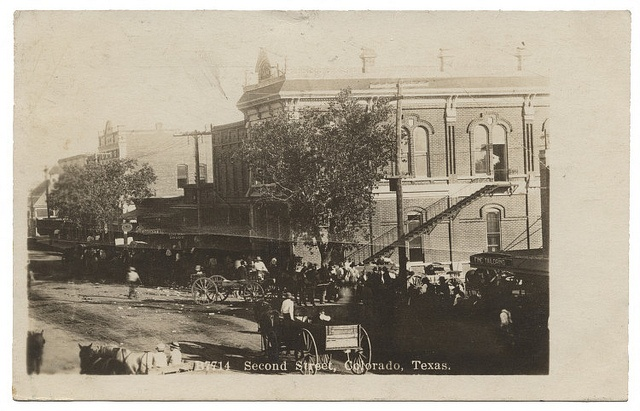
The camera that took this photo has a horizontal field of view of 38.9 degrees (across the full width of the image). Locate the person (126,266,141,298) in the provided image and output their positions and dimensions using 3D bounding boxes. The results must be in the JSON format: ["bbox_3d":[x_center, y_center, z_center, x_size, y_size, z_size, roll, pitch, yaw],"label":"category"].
[{"bbox_3d":[-6.586,2.722,32.063,0.492,1.126,0.115,1,-7,6],"label":"person"}]

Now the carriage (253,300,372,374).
[{"bbox_3d":[-0.249,4.658,30.814,2.388,1.444,3.746,4,-3,-38],"label":"carriage"}]
